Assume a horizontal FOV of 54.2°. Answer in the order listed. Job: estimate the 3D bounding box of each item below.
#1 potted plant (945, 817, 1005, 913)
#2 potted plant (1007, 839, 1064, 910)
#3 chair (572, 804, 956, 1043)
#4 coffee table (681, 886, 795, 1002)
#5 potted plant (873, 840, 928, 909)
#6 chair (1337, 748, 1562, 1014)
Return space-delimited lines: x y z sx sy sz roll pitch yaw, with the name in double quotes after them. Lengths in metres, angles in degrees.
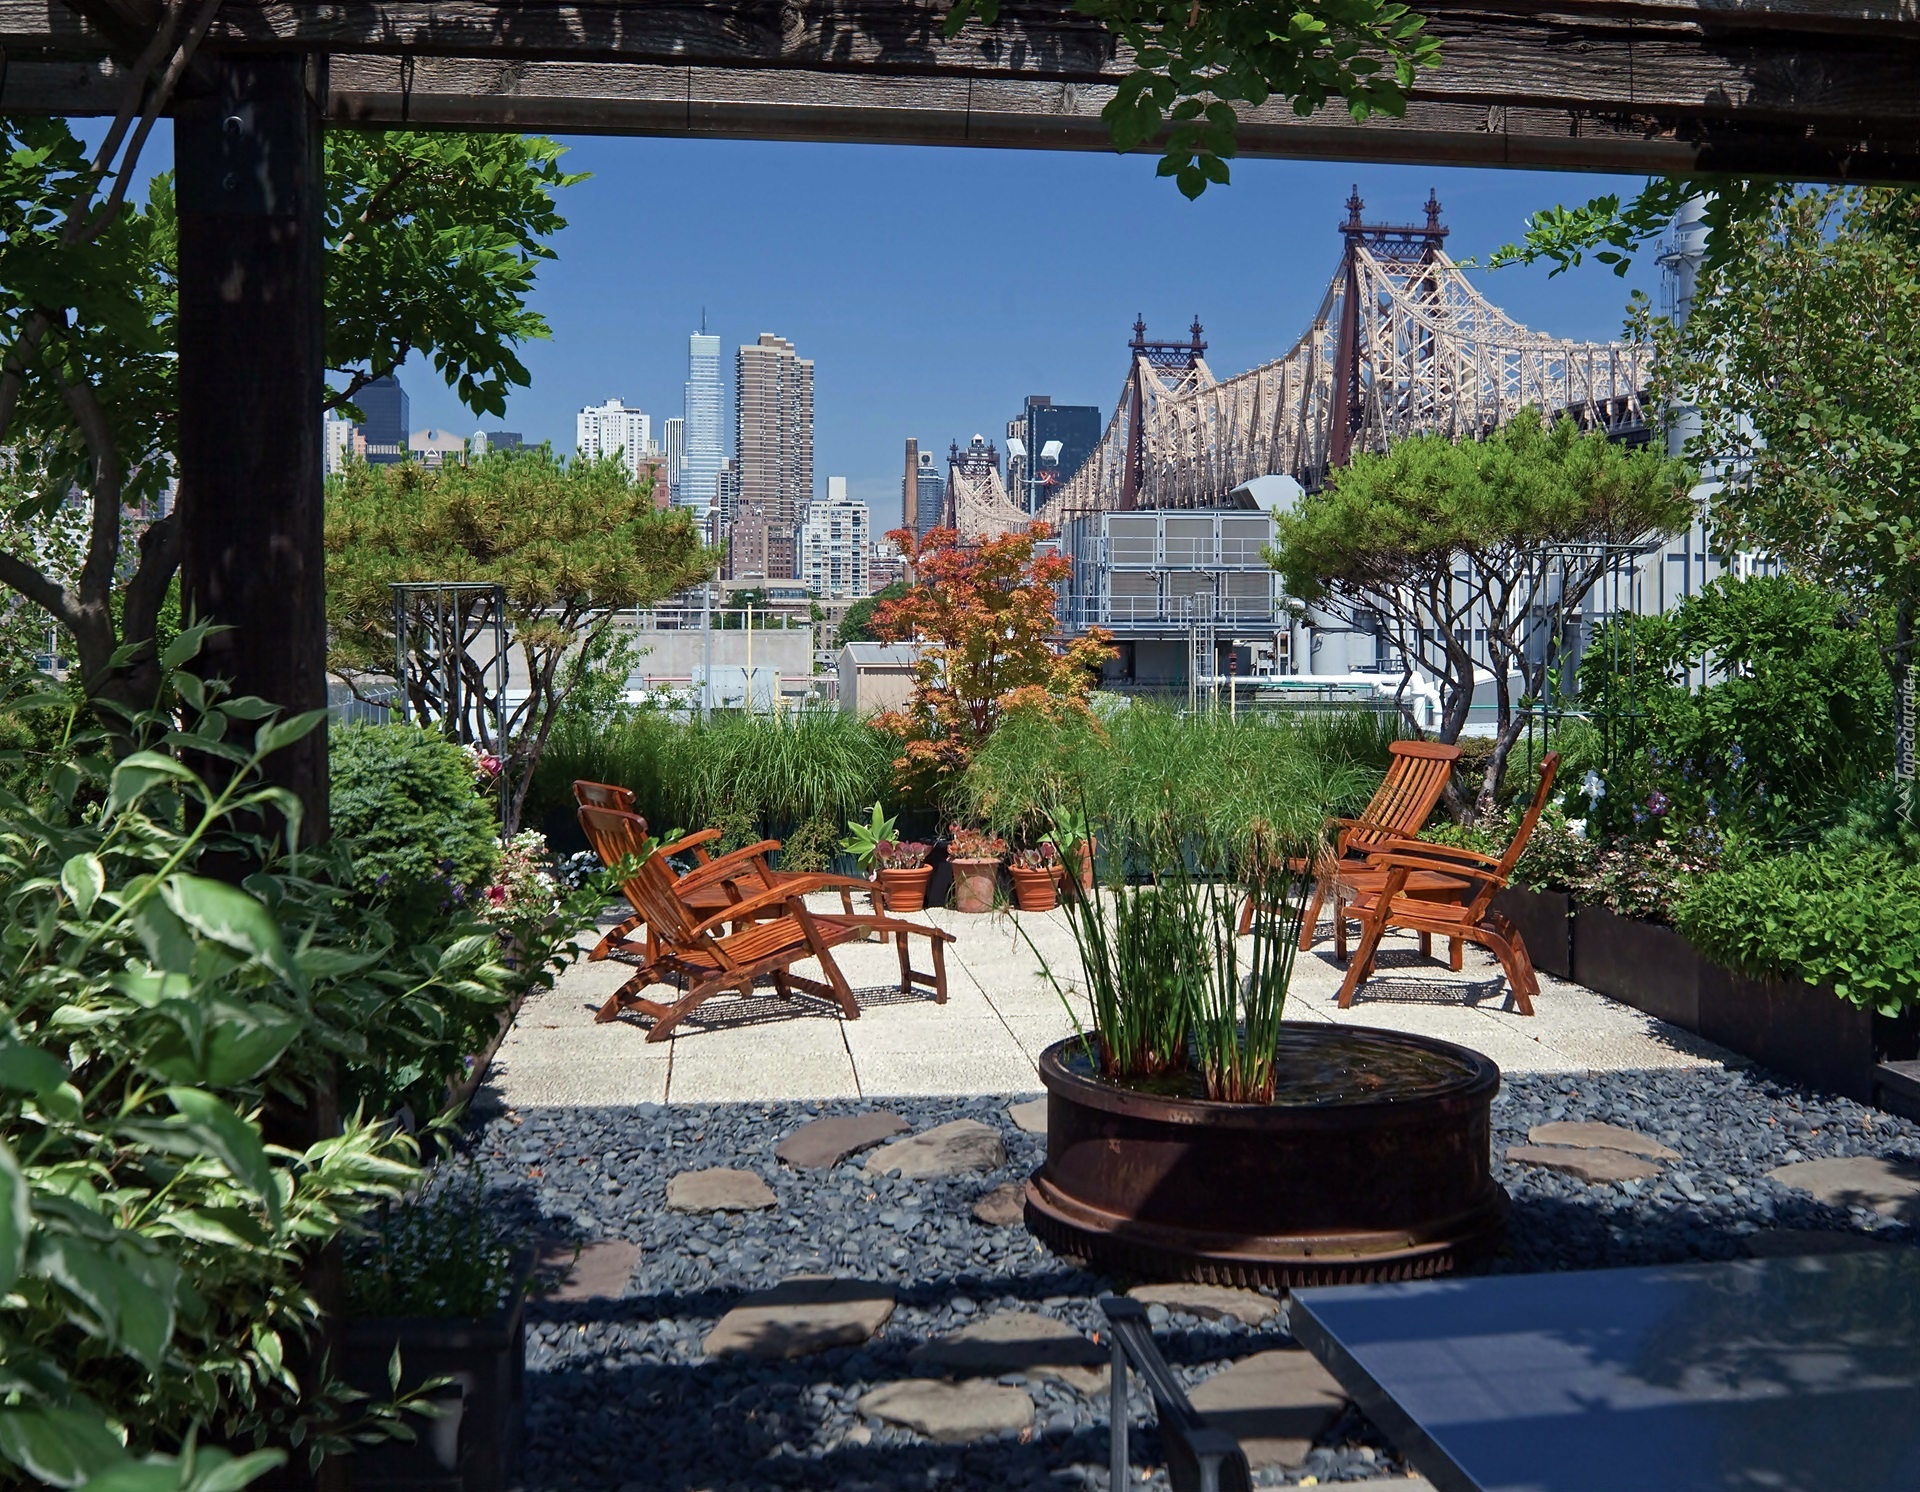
0.084 0.708 11.274 0.399 0.557 0.374 1 7 14 "potted plant"
0.477 0.779 11.055 0.389 0.505 0.427 -1 -3 -2 "potted plant"
-0.759 0.722 8.139 1.251 0.935 0.824 -5 4 -18 "chair"
-0.908 0.863 8.085 0.393 0.625 0.982 -1 6 -4 "coffee table"
-0.340 0.760 11.101 0.310 0.403 0.330 0 -4 7 "potted plant"
2.163 0.649 8.504 0.816 1.163 0.813 4 -6 25 "chair"
